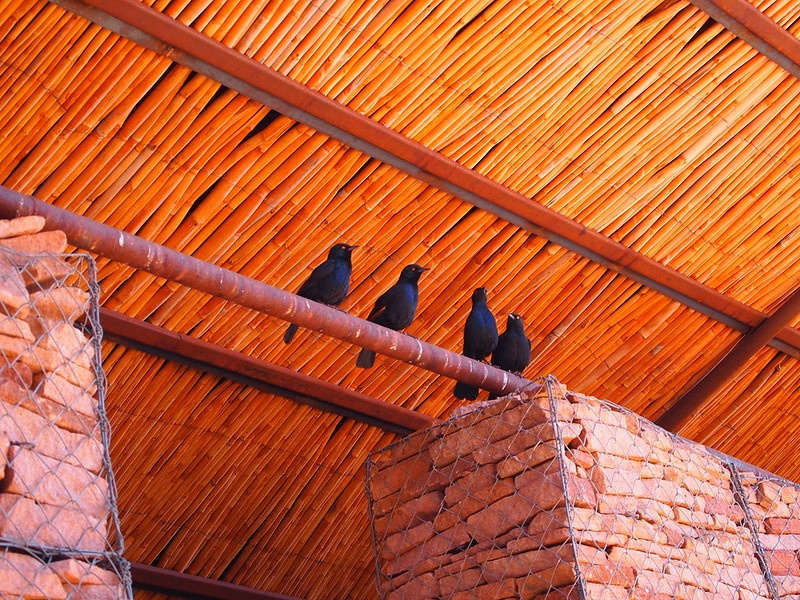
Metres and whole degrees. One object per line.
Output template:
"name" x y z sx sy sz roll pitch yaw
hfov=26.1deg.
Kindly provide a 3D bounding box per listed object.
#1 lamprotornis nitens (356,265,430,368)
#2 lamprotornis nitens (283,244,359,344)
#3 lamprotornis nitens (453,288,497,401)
"lamprotornis nitens" -0.067 0.081 13.332 0.599 0.668 0.282 -11 -22 26
"lamprotornis nitens" -0.604 -0.083 13.200 0.616 0.675 0.327 -14 -39 10
"lamprotornis nitens" 0.618 0.304 13.638 0.274 1.309 0.555 10 -59 2
